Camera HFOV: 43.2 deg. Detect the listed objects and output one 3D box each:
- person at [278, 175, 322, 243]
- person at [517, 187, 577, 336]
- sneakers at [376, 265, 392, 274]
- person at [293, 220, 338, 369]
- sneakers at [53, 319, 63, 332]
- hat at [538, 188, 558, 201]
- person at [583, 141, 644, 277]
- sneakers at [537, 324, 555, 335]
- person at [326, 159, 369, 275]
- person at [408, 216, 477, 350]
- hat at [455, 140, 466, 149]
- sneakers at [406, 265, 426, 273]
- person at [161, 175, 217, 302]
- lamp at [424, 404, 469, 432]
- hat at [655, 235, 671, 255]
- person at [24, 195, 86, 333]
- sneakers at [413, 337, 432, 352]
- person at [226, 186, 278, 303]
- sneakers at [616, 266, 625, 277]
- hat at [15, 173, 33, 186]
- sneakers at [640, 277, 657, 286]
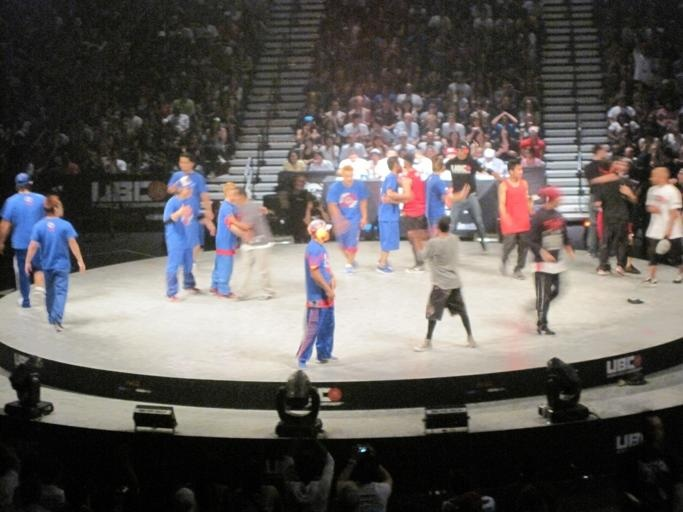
[{"bbox_3d":[-0.903,-1.000,17.530,0.963,1.211,0.456,1,10,-1],"label":"person"},{"bbox_3d":[2.698,0.057,11.283,0.445,1.906,0.364,0,4,11],"label":"person"},{"bbox_3d":[0.722,0.237,14.597,0.246,0.094,0.100,-1,8,-6],"label":"sneakers"},{"bbox_3d":[-0.321,0.444,10.478,0.455,1.774,0.476,-1,4,-3],"label":"person"},{"bbox_3d":[-3.860,0.935,11.703,0.121,0.145,0.259,-2,4,-18],"label":"sneakers"},{"bbox_3d":[2.751,-0.798,11.374,0.205,0.153,0.161,-13,37,31],"label":"hat"},{"bbox_3d":[4.596,-0.773,14.575,0.788,2.119,1.062,0,4,15],"label":"person"},{"bbox_3d":[2.701,0.963,11.217,0.278,0.108,0.092,-1,10,-6],"label":"sneakers"},{"bbox_3d":[0.095,-0.620,14.458,0.636,1.776,0.876,0,4,8],"label":"person"},{"bbox_3d":[1.324,0.334,10.957,0.763,1.648,0.532,0,4,2],"label":"person"},{"bbox_3d":[2.228,-2.024,15.777,0.172,0.147,0.328,0,3,4],"label":"hat"},{"bbox_3d":[1.267,0.218,14.707,0.325,0.122,0.115,2,4,-1],"label":"sneakers"},{"bbox_3d":[-2.459,-0.266,13.009,0.416,1.840,0.610,-1,4,-10],"label":"person"},{"bbox_3d":[1.155,1.785,9.521,0.480,0.260,0.235,0,4,2],"label":"lamp"},{"bbox_3d":[5.166,-0.150,13.714,0.184,0.275,0.409,3,5,42],"label":"hat"},{"bbox_3d":[-3.935,0.077,11.799,0.786,1.808,0.440,-1,4,-2],"label":"person"},{"bbox_3d":[1.029,1.099,10.874,0.222,0.157,0.303,0,3,4],"label":"sneakers"},{"bbox_3d":[-1.315,-0.176,12.978,0.592,1.668,0.409,-1,4,-6],"label":"person"},{"bbox_3d":[4.667,0.265,14.407,0.114,0.052,0.152,12,-15,10],"label":"sneakers"},{"bbox_3d":[-4.816,-1.142,12.991,0.208,0.160,0.288,-2,21,-2],"label":"hat"},{"bbox_3d":[4.916,0.406,13.770,0.122,0.127,0.315,0,6,4],"label":"sneakers"}]
